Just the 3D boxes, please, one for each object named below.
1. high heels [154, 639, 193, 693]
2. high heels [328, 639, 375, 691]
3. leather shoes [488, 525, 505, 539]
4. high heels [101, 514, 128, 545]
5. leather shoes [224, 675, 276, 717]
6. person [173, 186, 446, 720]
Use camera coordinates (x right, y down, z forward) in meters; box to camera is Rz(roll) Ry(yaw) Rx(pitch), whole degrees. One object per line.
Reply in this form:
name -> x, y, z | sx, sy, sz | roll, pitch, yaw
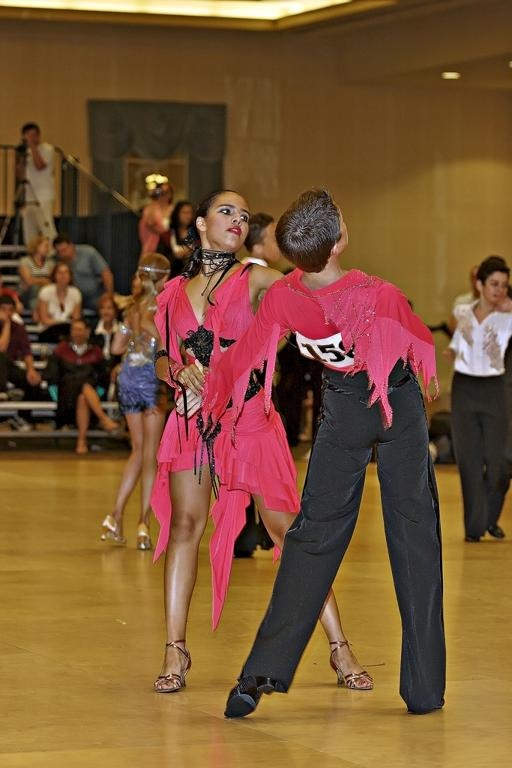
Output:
high heels -> -0.203, 0.747, 2.131 | 0.065, 0.067, 0.172 | -3, -2, 10
high heels -> 0.254, 0.767, 2.174 | 0.070, 0.078, 0.195 | -3, -11, -17
leather shoes -> 1.561, 0.957, 5.232 | 0.119, 0.103, 0.070 | -8, 3, 45
high heels -> -0.841, 0.847, 4.622 | 0.096, 0.112, 0.284 | -2, -8, 13
leather shoes -> -0.018, 0.715, 1.846 | 0.098, 0.101, 0.139 | 5, -1, -4
person -> 0.166, 0.223, 1.875 | 0.604, 1.152, 0.253 | 5, -1, 11
